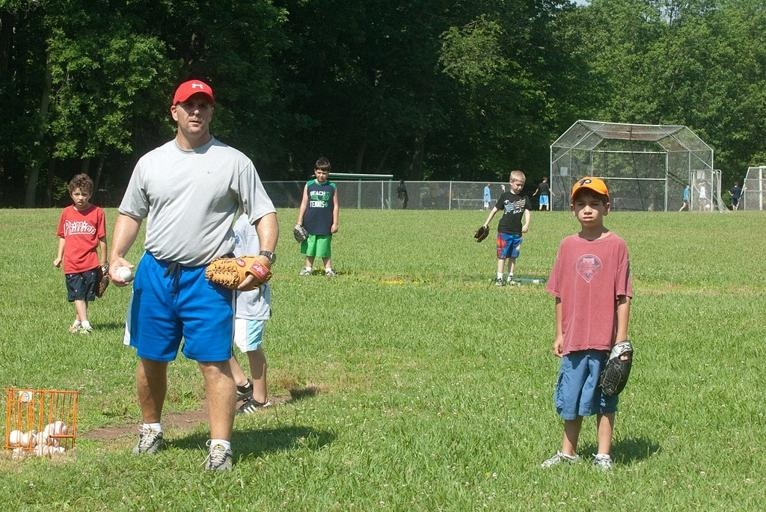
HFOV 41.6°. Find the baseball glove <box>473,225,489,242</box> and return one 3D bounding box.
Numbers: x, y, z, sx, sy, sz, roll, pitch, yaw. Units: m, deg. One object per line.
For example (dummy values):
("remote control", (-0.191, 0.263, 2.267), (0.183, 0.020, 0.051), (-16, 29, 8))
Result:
("baseball glove", (2.103, -0.400, 21.008), (0.151, 0.377, 0.271), (40, 19, -7))

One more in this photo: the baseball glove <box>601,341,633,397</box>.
("baseball glove", (2.638, 1.264, 11.352), (0.349, 0.593, 0.161), (20, 2, 29))

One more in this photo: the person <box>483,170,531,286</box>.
("person", (2.545, -0.594, 20.738), (1.111, 2.261, 0.781), (1, 8, -6))

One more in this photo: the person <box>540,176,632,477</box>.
("person", (2.334, 0.760, 11.642), (1.092, 3.298, 0.922), (-4, -10, 36))

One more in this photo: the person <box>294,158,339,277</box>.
("person", (-1.363, -0.797, 21.495), (0.782, 2.400, 1.061), (0, 0, 3))

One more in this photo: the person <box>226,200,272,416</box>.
("person", (-1.790, 0.694, 13.480), (0.875, 2.615, 0.853), (3, -4, 11))

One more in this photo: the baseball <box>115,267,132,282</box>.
("baseball", (-2.982, 0.197, 11.606), (0.166, 0.163, 0.097), (20, -24, 3))

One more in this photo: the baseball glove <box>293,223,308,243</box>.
("baseball glove", (-1.752, -0.471, 21.076), (0.157, 0.360, 0.268), (-17, -5, 13))

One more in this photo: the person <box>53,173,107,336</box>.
("person", (-4.863, -0.014, 16.255), (0.895, 2.518, 0.906), (-1, 8, -21))
